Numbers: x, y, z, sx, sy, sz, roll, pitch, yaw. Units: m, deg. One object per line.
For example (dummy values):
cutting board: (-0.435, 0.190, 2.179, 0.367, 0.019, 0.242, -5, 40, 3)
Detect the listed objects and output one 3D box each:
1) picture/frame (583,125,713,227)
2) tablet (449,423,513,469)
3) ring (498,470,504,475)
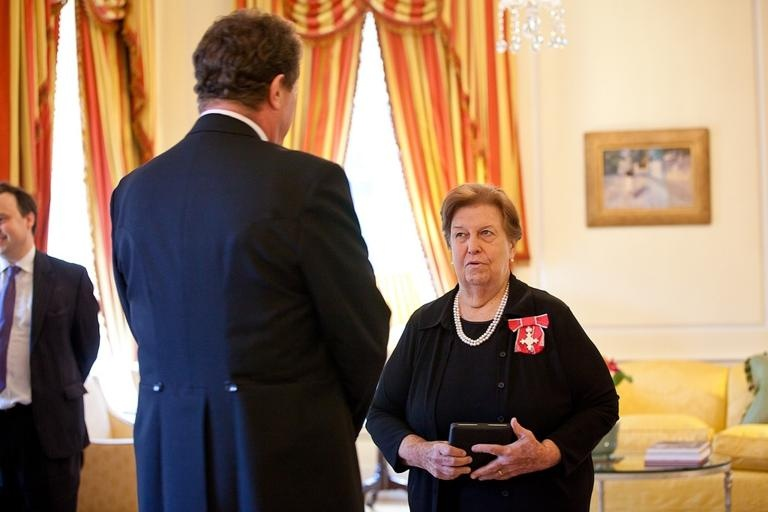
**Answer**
picture/frame: (2.184, -0.641, 6.161, 0.987, 0.783, 0.091, -1, 4, 6)
tablet: (0.441, 0.846, 3.290, 0.299, 0.209, 0.090, -1, 4, 4)
ring: (0.511, 0.950, 3.250, 0.020, 0.019, 0.005, 13, 0, -6)
